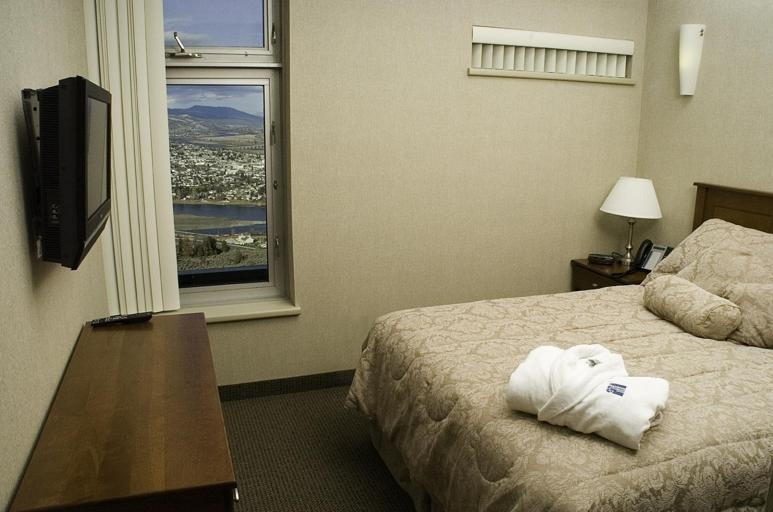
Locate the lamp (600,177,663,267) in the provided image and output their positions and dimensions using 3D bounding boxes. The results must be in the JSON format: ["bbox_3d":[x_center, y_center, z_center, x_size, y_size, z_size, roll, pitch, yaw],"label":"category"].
[{"bbox_3d":[2.088,-0.283,4.756,0.457,0.753,0.448,3,13,7],"label":"lamp"}]

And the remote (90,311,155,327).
[{"bbox_3d":[-1.539,0.363,3.255,0.209,0.047,0.054,-2,10,-21],"label":"remote"}]

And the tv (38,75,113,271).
[{"bbox_3d":[-1.399,-0.380,2.572,0.265,0.784,0.641,-6,14,-13],"label":"tv"}]

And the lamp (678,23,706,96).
[{"bbox_3d":[2.382,-1.517,4.390,0.174,0.537,0.066,4,15,23],"label":"lamp"}]
